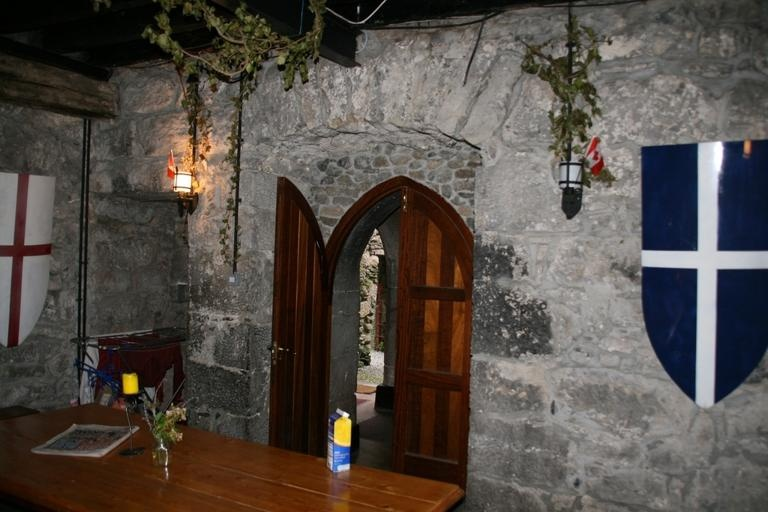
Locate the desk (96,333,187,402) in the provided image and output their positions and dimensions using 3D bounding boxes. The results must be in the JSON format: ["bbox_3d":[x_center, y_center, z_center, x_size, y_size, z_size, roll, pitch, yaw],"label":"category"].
[{"bbox_3d":[-2.343,1.170,6.224,0.858,0.764,0.869,-3,0,-28],"label":"desk"}]

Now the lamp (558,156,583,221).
[{"bbox_3d":[1.197,-0.424,4.035,0.159,0.399,0.145,6,11,23],"label":"lamp"}]

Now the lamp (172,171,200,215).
[{"bbox_3d":[-1.680,-0.517,5.267,0.193,0.394,0.292,-7,14,-42],"label":"lamp"}]
